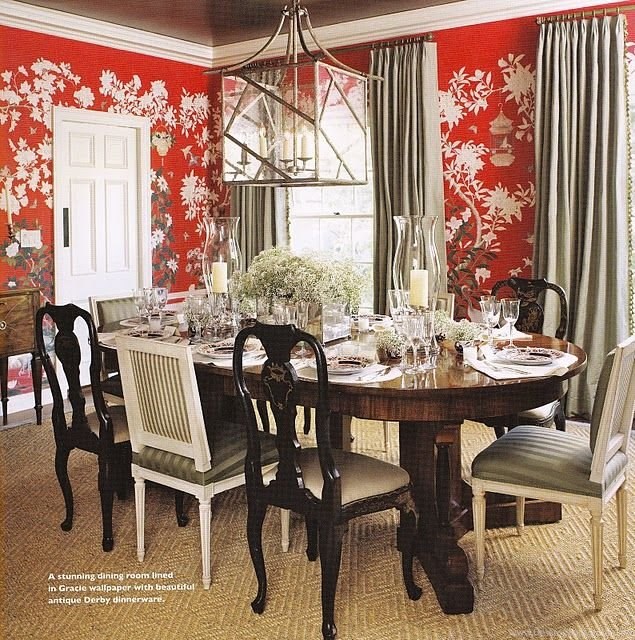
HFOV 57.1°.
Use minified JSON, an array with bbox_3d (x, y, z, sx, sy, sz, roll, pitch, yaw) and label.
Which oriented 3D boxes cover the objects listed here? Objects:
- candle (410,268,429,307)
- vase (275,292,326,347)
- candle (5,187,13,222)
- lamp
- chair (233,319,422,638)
[{"bbox_3d":[0.388,-0.121,2.248,0.070,0.152,0.051,-1,7,1],"label":"candle"},{"bbox_3d":[-0.065,-0.004,2.449,0.161,0.351,0.172,2,5,22],"label":"vase"},{"bbox_3d":[-2.307,-0.855,4.329,0.032,0.257,0.062,-2,7,-13],"label":"candle"},{"bbox_3d":[-0.091,-0.922,2.383,0.556,0.767,0.520,4,9,34],"label":"lamp"},{"bbox_3d":[0.012,0.484,1.987,0.520,0.998,0.427,-7,9,-39],"label":"chair"}]
